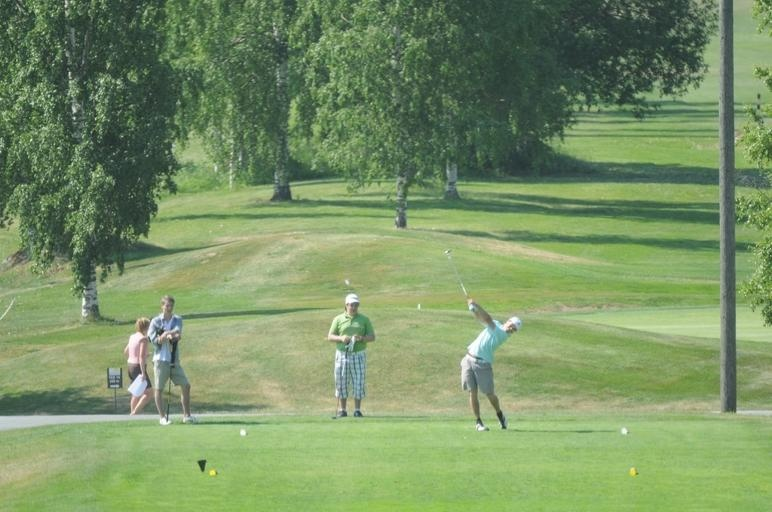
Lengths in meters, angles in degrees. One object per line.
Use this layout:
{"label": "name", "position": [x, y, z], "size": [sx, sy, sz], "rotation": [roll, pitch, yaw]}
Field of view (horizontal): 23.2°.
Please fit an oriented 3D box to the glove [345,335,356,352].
{"label": "glove", "position": [-1.585, 4.039, 86.201], "size": [0.268, 0.946, 0.373], "rotation": [8, 41, -15]}
